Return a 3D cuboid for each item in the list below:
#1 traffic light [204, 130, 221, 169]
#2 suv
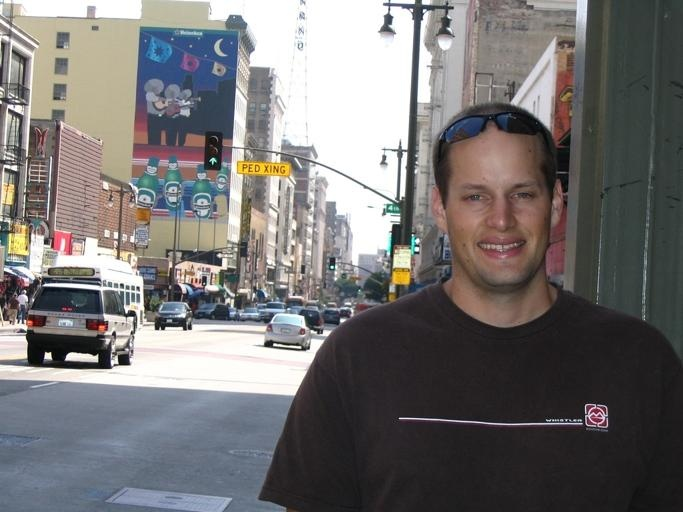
[{"bbox_3d":[-4.307,-3.542,26.379,0.545,1.378,1.098,2,-4,-12],"label":"traffic light"},{"bbox_3d":[-6.795,1.805,20.904,2.152,2.071,4.273,4,-3,-6],"label":"suv"}]
